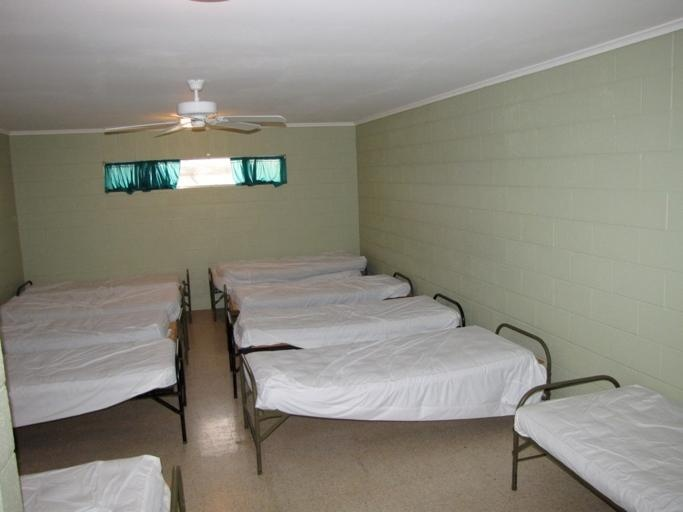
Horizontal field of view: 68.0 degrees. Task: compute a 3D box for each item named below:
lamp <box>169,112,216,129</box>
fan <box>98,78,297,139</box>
[{"bbox_3d":[-1.318,-1.193,4.527,0.357,0.122,0.401,-6,14,-17],"label":"lamp"},{"bbox_3d":[-1.164,-1.355,4.546,1.405,0.415,1.414,0,8,29],"label":"fan"}]
